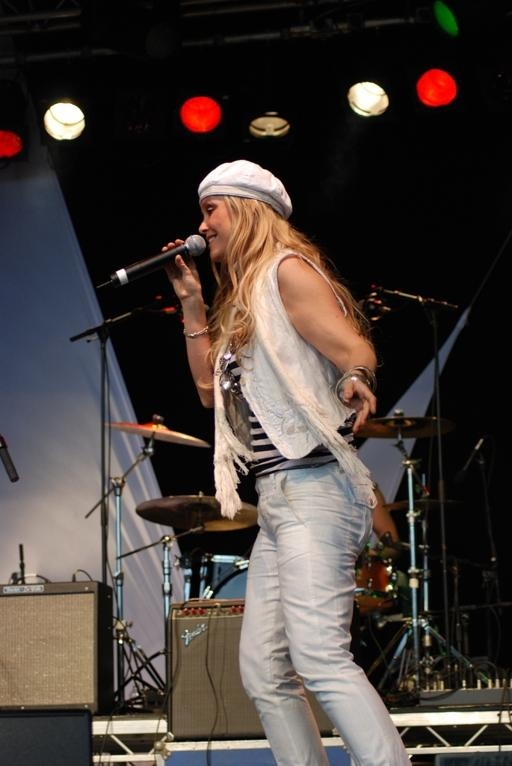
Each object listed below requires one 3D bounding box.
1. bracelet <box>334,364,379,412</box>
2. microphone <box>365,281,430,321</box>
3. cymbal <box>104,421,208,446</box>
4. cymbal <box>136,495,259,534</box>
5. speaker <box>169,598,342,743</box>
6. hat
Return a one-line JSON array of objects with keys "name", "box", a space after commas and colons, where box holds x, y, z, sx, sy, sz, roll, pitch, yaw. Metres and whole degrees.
[{"name": "bracelet", "box": [0.230, 0.003, 2.242, 0.083, 0.091, 0.036, 9, -4, -5]}, {"name": "microphone", "box": [0.717, -0.434, 5.067, 0.473, 0.157, 0.279, -5, 18, -40]}, {"name": "cymbal", "box": [-0.448, 0.231, 4.599, 0.254, 0.049, 0.231, 12, -7, 1]}, {"name": "cymbal", "box": [-0.280, 0.605, 4.608, 0.445, 0.085, 0.399, 8, -26, -18]}, {"name": "speaker", "box": [0.040, 0.975, 3.352, 0.636, 0.487, 0.369, -14, -31, 29]}, {"name": "hat", "box": [-0.055, -0.537, 2.716, 0.256, 0.093, 0.214, 1, -9, 37]}]
